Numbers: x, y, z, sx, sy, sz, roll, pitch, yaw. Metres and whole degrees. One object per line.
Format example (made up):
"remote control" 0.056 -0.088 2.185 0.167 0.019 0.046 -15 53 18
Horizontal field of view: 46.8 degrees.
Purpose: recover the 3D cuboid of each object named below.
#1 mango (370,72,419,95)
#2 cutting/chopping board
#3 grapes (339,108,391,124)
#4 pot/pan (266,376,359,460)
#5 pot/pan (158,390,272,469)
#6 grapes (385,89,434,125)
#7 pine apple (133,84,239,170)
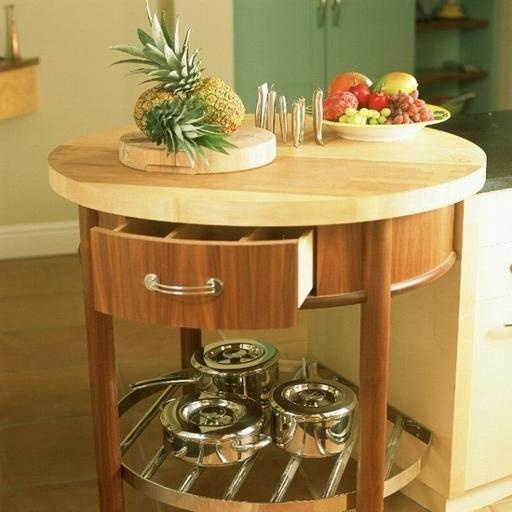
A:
"mango" 0.319 -0.389 1.329 0.107 0.057 0.058 -7 19 -5
"cutting/chopping board" -0.102 -0.210 1.107 0.290 0.045 0.274 1 23 8
"grapes" 0.228 -0.292 1.234 0.070 0.024 0.051 3 10 16
"pot/pan" 0.118 0.341 1.264 0.186 0.104 0.179 1 13 2
"pot/pan" -0.076 0.344 1.202 0.193 0.125 0.195 -4 22 0
"grapes" 0.319 -0.310 1.225 0.074 0.051 0.096 4 15 2
"pine apple" -0.118 -0.228 1.033 0.112 0.122 0.215 43 31 9
